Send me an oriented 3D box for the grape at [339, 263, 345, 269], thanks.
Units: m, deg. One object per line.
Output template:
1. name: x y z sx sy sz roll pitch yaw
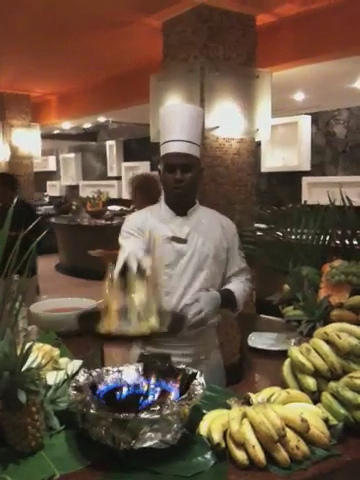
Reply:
1. grape: 0.501 0.080 1.192 0.004 0.012 0.017 -27 -4 37

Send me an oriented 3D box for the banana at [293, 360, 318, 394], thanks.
1. banana: 0.296 0.323 0.941 0.030 0.028 0.092 40 10 -28

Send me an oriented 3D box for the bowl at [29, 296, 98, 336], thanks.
1. bowl: -0.312 0.200 1.058 0.169 0.068 0.187 -2 7 -11

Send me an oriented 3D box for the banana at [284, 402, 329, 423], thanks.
1. banana: 0.276 0.358 0.855 0.075 0.035 0.107 -1 10 18

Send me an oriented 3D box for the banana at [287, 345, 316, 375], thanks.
1. banana: 0.291 0.289 0.934 0.037 0.022 0.069 -20 43 -23

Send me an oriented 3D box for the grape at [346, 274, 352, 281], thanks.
1. grape: 0.514 0.113 1.172 0.015 0.018 0.016 3 8 24

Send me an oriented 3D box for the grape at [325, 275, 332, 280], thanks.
1. grape: 0.463 0.116 1.201 0.007 0.017 0.022 -4 8 -22

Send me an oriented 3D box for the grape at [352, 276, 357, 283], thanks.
1. grape: 0.528 0.117 1.167 0.012 0.016 0.004 -15 -16 40

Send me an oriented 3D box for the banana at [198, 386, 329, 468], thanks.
1. banana: 0.178 0.354 0.806 0.229 0.075 0.270 -10 4 -4

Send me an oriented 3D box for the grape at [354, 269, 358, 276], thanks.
1. grape: 0.538 0.098 1.177 0.010 0.016 0.013 3 8 22

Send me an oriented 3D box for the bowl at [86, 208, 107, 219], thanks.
1. bowl: -0.413 -0.133 1.972 0.062 0.056 0.162 1 8 13

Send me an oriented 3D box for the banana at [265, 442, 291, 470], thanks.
1. banana: 0.178 0.384 0.693 0.040 0.032 0.034 0 8 3

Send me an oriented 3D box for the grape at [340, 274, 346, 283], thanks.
1. grape: 0.497 0.117 1.178 0.012 0.024 0.016 -2 8 -14

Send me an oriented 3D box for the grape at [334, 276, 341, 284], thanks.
1. grape: 0.485 0.120 1.178 0.014 0.018 0.006 8 7 -1

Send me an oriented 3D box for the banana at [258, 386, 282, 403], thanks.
1. banana: 0.203 0.342 0.867 0.038 0.013 0.039 -13 6 40
